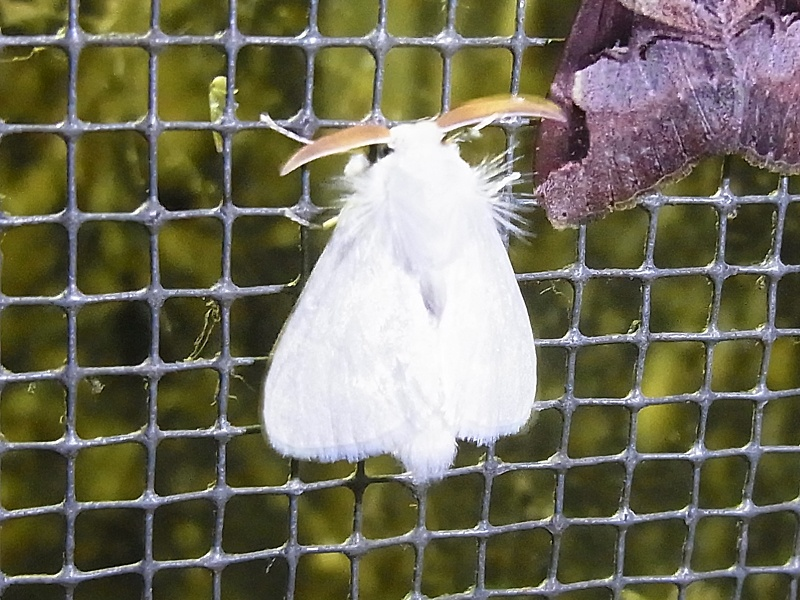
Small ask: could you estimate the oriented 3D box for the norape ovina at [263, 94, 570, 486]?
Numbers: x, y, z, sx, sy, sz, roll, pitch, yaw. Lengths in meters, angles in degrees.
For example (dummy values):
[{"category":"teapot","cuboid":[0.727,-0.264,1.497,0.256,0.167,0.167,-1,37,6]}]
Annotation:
[{"category":"norape ovina","cuboid":[0.021,0.002,2.359,0.433,0.588,0.152,-5,9,-8]}]
